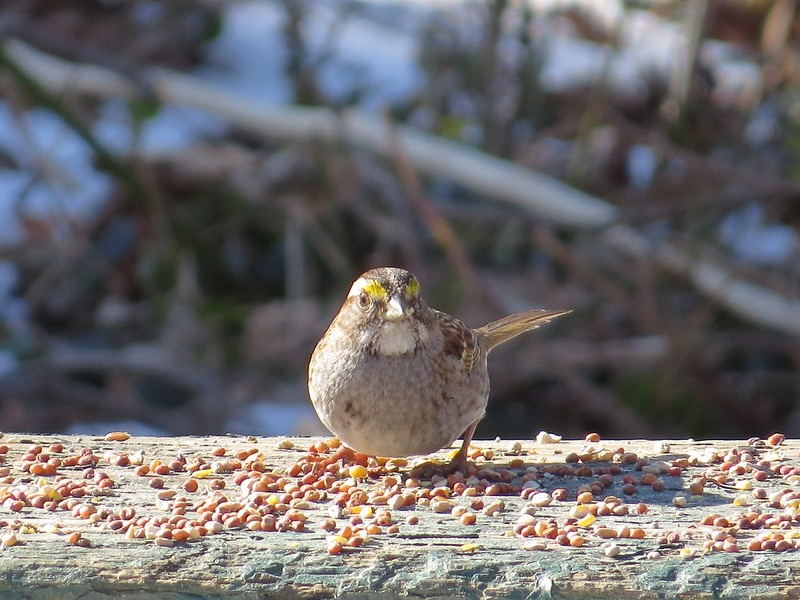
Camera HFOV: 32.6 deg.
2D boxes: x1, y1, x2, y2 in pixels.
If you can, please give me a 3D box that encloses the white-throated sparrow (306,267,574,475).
[{"bbox_3d":[0.188,0.216,6.575,0.810,1.788,0.998,7,105,25],"label":"white-throated sparrow"}]
